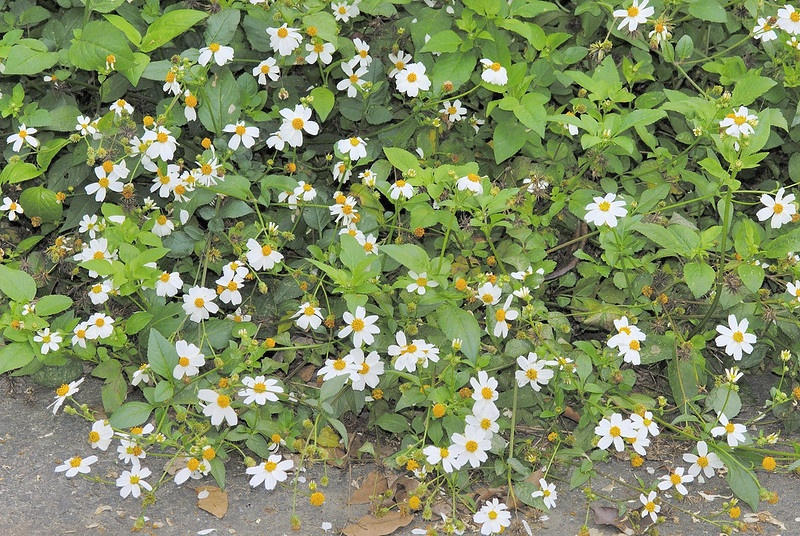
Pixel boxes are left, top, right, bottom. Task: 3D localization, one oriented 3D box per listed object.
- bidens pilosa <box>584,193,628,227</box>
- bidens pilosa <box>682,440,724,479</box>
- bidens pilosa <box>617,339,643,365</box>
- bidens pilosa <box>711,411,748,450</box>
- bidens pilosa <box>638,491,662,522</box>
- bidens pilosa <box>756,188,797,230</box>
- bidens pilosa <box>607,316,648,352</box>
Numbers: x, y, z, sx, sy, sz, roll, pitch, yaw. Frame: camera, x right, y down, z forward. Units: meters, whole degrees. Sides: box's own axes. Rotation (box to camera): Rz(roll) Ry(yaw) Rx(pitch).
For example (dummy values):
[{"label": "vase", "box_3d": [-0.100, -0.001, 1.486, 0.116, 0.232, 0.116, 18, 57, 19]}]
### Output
[{"label": "bidens pilosa", "box_3d": [1.291, -0.370, 4.093, 0.264, 0.240, 0.085, -11, 70, -22]}, {"label": "bidens pilosa", "box_3d": [1.866, 1.196, 4.022, 0.285, 0.068, 0.280, -9, 103, -9]}, {"label": "bidens pilosa", "box_3d": [1.413, 0.510, 4.081, 0.152, 0.197, 0.140, 15, 85, 2]}, {"label": "bidens pilosa", "box_3d": [2.008, 0.982, 4.054, 0.230, 0.081, 0.241, 7, 48, -8]}, {"label": "bidens pilosa", "box_3d": [1.493, 1.433, 3.955, 0.163, 0.056, 0.182, -10, 100, -44]}, {"label": "bidens pilosa", "box_3d": [2.428, -0.380, 4.230, 0.277, 0.088, 0.300, -1, 94, 25]}, {"label": "bidens pilosa", "box_3d": [1.373, 0.411, 4.017, 0.218, 0.075, 0.210, -39, 77, -20]}]
